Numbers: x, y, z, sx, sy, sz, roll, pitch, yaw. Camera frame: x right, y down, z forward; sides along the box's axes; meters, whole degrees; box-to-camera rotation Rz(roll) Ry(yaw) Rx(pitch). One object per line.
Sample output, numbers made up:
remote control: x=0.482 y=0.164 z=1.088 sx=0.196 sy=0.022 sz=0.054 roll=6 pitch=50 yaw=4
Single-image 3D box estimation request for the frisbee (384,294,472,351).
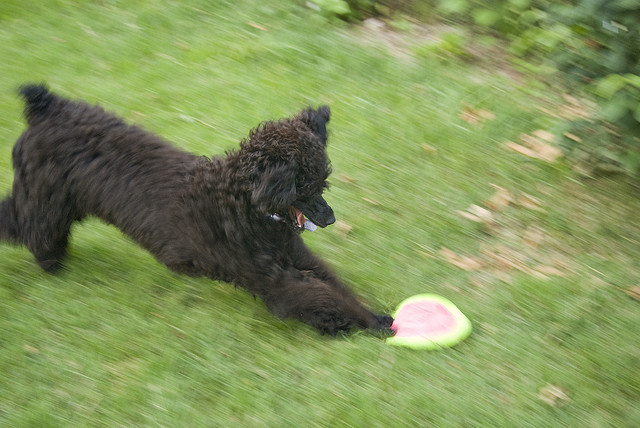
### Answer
frisbee: x=1.046 y=1.033 z=6.306 sx=0.743 sy=0.162 sz=0.652 roll=15 pitch=42 yaw=3
